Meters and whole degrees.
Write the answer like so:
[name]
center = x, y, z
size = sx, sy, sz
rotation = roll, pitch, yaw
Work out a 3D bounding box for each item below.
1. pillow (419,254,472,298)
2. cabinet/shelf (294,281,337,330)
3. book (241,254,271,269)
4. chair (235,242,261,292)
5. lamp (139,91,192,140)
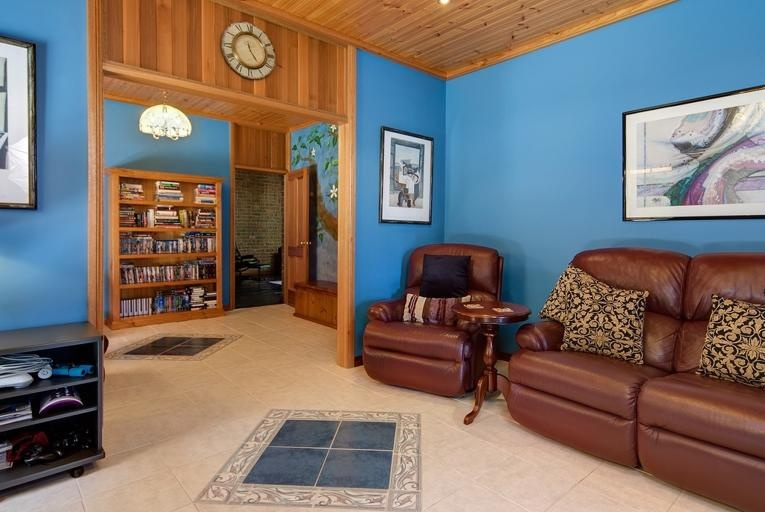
[pillow]
center = 0.623, 0.197, 4.743
size = 0.404, 0.339, 0.147
rotation = -3, -29, 21
[cabinet/shelf]
center = -0.860, 0.648, 6.750
size = 0.339, 0.516, 0.930
rotation = -4, 5, -31
[book]
center = -2.729, 0.121, 10.790
size = 0.558, 0.325, 0.323
rotation = 3, 2, 33
[chair]
center = -2.815, 0.161, 10.566
size = 0.533, 0.804, 2.317
rotation = -2, 4, -13
[lamp]
center = -2.464, -1.553, 5.680
size = 0.502, 0.337, 0.235
rotation = -2, 4, -17
